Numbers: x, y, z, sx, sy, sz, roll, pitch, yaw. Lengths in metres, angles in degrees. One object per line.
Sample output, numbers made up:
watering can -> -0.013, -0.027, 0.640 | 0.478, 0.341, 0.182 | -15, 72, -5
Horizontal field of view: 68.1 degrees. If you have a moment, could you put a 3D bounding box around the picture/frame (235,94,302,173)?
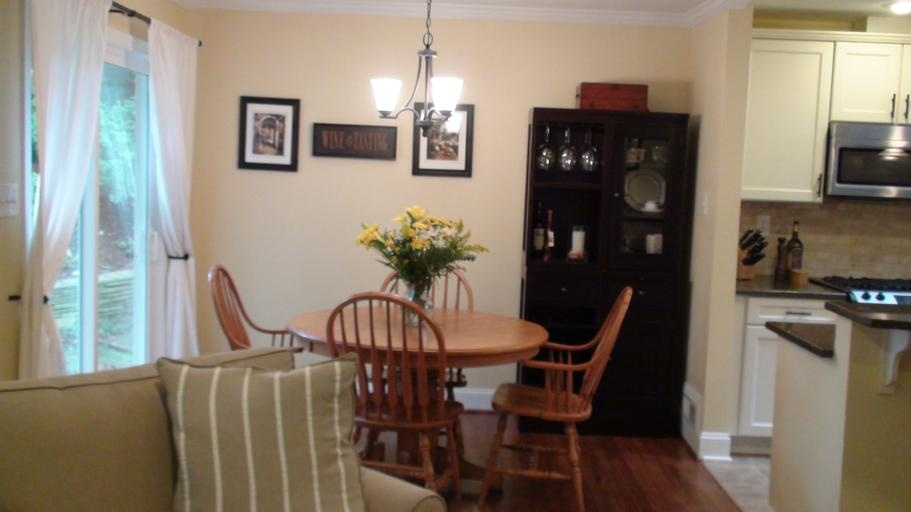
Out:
picture/frame -> -1.677, -1.130, 6.074 | 0.759, 0.813, 0.063 | 1, 5, -3

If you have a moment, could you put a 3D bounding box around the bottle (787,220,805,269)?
bottle -> 3.047, -0.093, 6.014 | 0.142, 0.422, 0.296 | 6, 8, 26

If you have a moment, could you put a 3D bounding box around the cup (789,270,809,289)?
cup -> 2.977, 0.197, 5.852 | 0.178, 0.156, 0.175 | 0, 2, 0

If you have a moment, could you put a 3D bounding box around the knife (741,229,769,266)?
knife -> 2.642, -0.085, 5.971 | 0.228, 0.299, 0.408 | 6, 8, 24

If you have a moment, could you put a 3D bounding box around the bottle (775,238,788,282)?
bottle -> 2.911, 0.026, 6.009 | 0.094, 0.368, 0.280 | 6, 8, 23

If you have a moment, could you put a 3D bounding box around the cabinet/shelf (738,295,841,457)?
cabinet/shelf -> 2.952, 1.016, 5.696 | 0.821, 1.415, 0.929 | -1, -18, 46

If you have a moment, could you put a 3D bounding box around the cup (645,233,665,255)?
cup -> 1.726, -0.107, 5.815 | 0.143, 0.183, 0.065 | 2, 8, -1

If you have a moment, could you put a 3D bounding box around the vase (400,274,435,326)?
vase -> -0.335, 0.303, 5.058 | 0.320, 0.375, 0.311 | 8, 18, 4

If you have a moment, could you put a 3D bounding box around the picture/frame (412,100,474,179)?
picture/frame -> -0.097, -1.023, 5.819 | 0.754, 0.770, 0.060 | 1, 5, -1

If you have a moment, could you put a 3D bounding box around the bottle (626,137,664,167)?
bottle -> 1.631, -0.893, 5.796 | 0.325, 0.114, 0.197 | 1, 2, 5

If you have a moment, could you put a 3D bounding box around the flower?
flower -> -0.209, -0.061, 5.186 | 0.902, 0.731, 0.926 | 4, 0, 3

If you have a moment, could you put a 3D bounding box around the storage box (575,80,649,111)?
storage box -> 1.366, -1.371, 5.813 | 0.565, 0.221, 0.081 | 2, 8, 0

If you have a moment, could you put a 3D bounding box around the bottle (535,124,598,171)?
bottle -> 0.973, -0.949, 5.917 | 0.431, 0.318, 0.161 | 0, 9, 2
